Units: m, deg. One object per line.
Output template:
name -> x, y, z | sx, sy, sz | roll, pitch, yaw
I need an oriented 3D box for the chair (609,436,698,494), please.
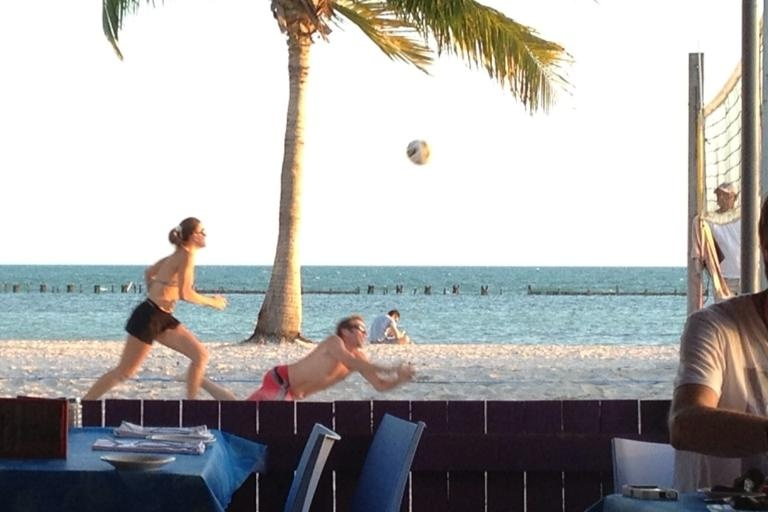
chair -> 1.906, 1.511, 7.232 | 0.381, 0.367, 0.443 | 0, -3, -2

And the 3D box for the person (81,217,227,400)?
person -> -2.350, 0.533, 10.706 | 1.203, 1.952, 0.468 | 4, -9, -13

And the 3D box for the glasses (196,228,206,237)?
glasses -> -2.010, -0.270, 10.898 | 0.107, 0.070, 0.087 | 32, 9, -22

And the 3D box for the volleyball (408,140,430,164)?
volleyball -> 0.652, -1.942, 18.658 | 0.474, 0.481, 0.264 | -3, -10, 30
